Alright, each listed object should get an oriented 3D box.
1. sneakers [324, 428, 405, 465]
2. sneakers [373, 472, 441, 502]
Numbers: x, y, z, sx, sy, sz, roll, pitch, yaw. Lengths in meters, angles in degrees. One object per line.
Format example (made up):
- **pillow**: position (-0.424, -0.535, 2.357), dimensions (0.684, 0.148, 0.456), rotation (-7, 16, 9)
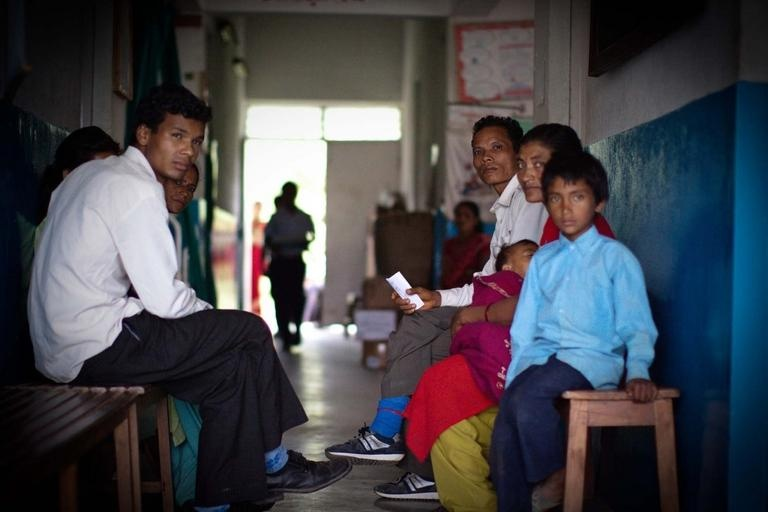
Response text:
- **sneakers**: position (-0.090, 0.890, 3.273), dimensions (0.380, 0.178, 0.142), rotation (6, -26, -8)
- **sneakers**: position (0.119, 1.053, 3.231), dimensions (0.349, 0.156, 0.118), rotation (3, -13, -1)
